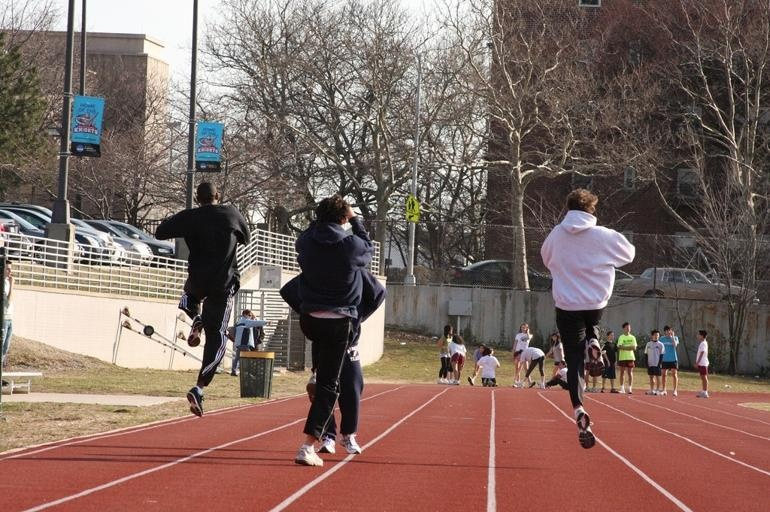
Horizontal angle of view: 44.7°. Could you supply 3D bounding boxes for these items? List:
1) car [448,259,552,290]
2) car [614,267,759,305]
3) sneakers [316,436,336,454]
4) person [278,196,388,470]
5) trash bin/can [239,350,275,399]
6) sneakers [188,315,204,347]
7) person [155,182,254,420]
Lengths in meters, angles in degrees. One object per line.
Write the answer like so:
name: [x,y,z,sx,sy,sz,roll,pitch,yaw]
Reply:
car: [5.525,0.986,45.891,4.016,1.578,1.914,0,2,-12]
car: [13.165,1.831,42.061,5.071,1.570,2.420,1,2,3]
sneakers: [-0.985,3.281,16.119,0.156,0.204,0.432,1,2,2]
person: [-0.897,1.236,15.523,1.444,4.435,0.726,3,-5,-8]
trash bin/can: [-3.096,2.919,23.082,0.957,1.185,0.968,2,-2,-25]
sneakers: [-3.365,1.353,16.701,0.267,0.680,0.272,9,-5,-16]
person: [-3.196,0.758,16.788,1.396,4.205,0.624,3,-5,-10]
